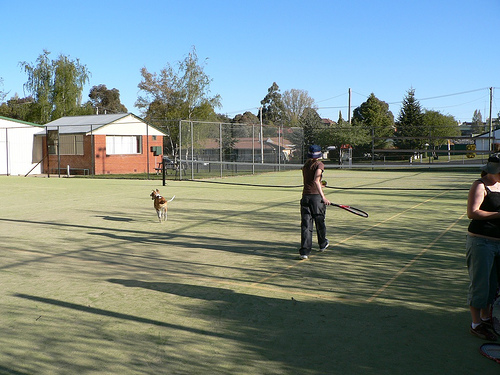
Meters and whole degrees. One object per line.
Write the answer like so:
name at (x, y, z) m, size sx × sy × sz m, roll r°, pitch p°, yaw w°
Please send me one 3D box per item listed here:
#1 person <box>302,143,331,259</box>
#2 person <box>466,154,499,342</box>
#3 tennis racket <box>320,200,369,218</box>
person at (1.253, 0.254, 8.381) m, size 0.492 × 2.073 × 0.844 m, roll 1°, pitch 6°, yaw 9°
person at (2.620, 0.659, 4.946) m, size 0.365 × 2.044 × 0.409 m, roll 3°, pitch 7°, yaw 26°
tennis racket at (2.698, 0.640, 12.598) m, size 1.379 × 0.373 × 0.111 m, roll 17°, pitch -15°, yaw 33°
